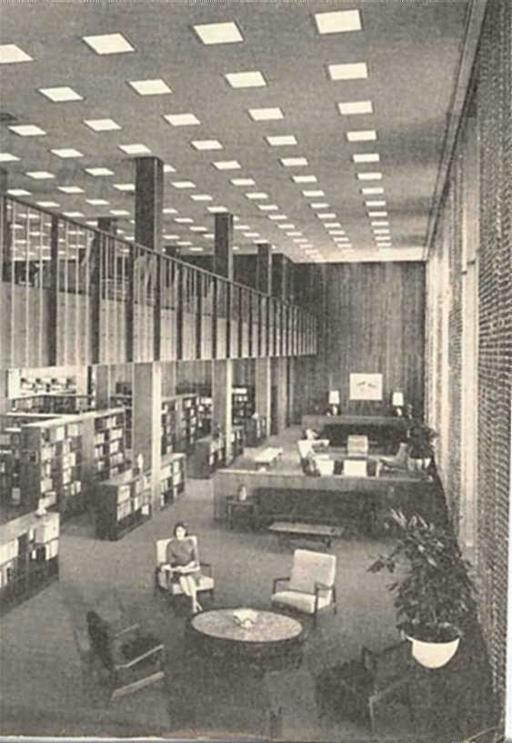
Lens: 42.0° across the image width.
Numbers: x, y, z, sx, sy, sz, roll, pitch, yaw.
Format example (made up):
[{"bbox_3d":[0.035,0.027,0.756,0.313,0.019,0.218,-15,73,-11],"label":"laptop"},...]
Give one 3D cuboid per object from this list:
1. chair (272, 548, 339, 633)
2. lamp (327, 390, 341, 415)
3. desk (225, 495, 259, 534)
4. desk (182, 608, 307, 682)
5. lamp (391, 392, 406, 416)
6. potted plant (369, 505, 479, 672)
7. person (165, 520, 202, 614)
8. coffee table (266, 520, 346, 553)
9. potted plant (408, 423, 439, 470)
[{"bbox_3d":[0.683,3.091,9.556,0.783,1.136,0.777,12,-12,-38],"label":"chair"},{"bbox_3d":[2.882,1.110,24.680,0.463,0.896,0.568,-1,-1,7],"label":"lamp"},{"bbox_3d":[-0.272,2.884,13.523,0.516,0.818,0.665,0,0,2],"label":"desk"},{"bbox_3d":[-0.133,3.190,8.030,1.419,0.920,1.005,-2,-2,-12],"label":"desk"},{"bbox_3d":[5.033,1.116,23.662,0.436,0.913,0.566,-1,-1,12],"label":"lamp"},{"bbox_3d":[1.889,2.264,7.198,0.805,1.840,2.462,-1,-2,14],"label":"potted plant"},{"bbox_3d":[-1.153,3.080,10.532,0.433,1.108,1.509,-2,8,-13],"label":"person"},{"bbox_3d":[0.925,3.162,12.629,1.223,0.634,1.036,-2,-2,7],"label":"coffee table"},{"bbox_3d":[4.238,1.895,16.892,0.564,1.736,0.990,0,2,6],"label":"potted plant"}]
